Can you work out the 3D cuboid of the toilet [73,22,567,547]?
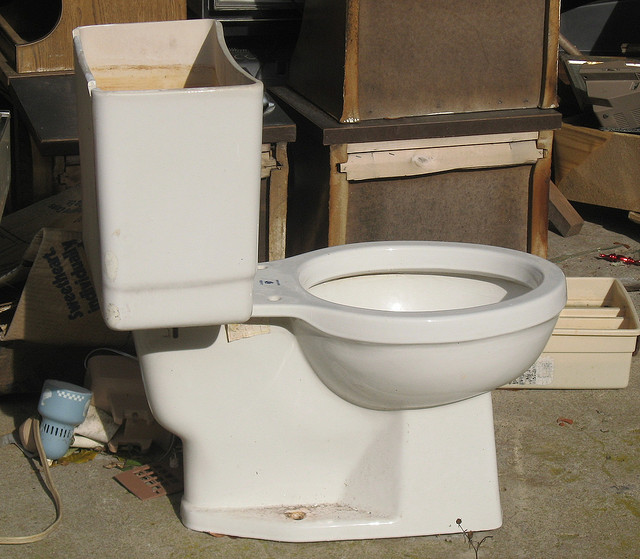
[{"bbox_3d":[-0.024,-0.123,1.855,1.158,1.105,0.974,-3,25,-6],"label":"toilet"}]
